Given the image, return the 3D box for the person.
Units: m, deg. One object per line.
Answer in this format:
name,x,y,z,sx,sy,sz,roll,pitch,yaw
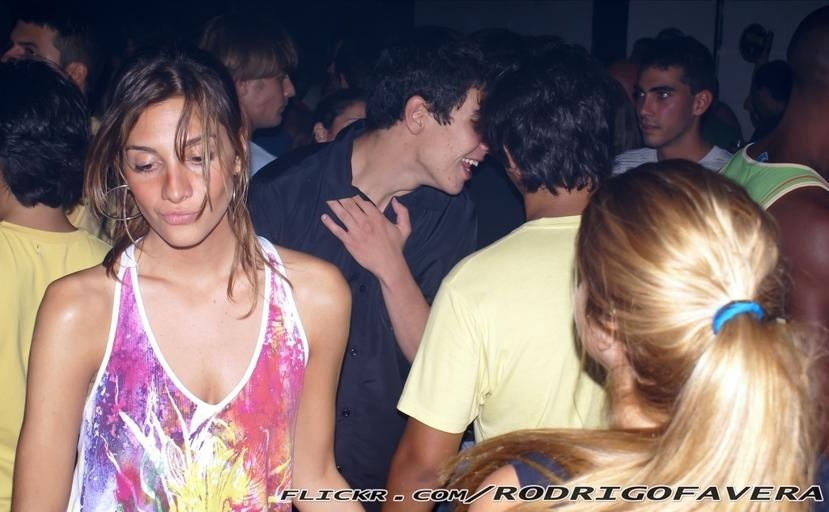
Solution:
person,-0.074,0.047,3.478,3.242,1.016,0.929,3,-30,-5
